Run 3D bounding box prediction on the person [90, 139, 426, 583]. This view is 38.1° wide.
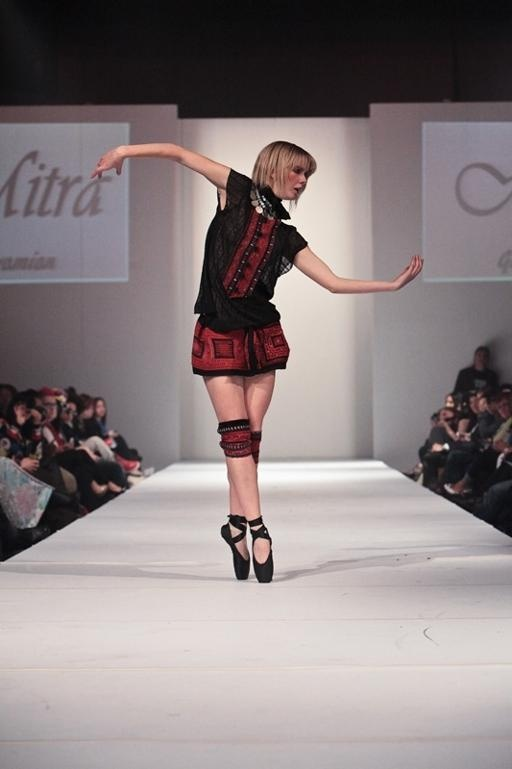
[{"bbox_3d":[-0.025,-0.055,1.839,0.675,1.065,0.202,1,5,-1],"label":"person"}]
